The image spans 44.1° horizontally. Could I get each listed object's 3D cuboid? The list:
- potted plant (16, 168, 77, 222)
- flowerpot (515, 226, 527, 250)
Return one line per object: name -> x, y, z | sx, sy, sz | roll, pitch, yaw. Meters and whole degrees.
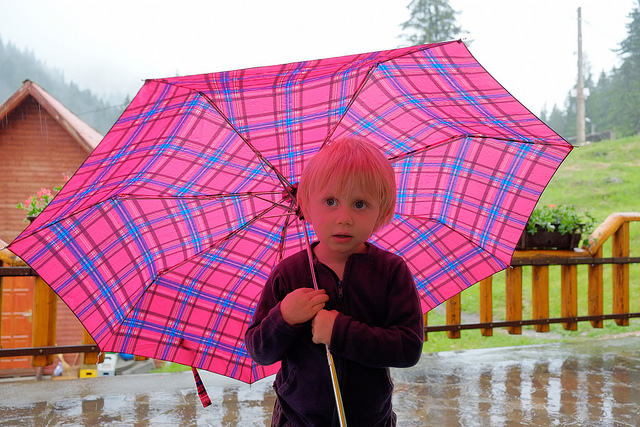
potted plant -> -5.147, -0.364, 14.734 | 1.331, 0.358, 0.474 | -40, -13, -10
flowerpot -> 3.601, 0.448, 14.226 | 0.193, 0.371, 0.267 | -3, -12, 14
